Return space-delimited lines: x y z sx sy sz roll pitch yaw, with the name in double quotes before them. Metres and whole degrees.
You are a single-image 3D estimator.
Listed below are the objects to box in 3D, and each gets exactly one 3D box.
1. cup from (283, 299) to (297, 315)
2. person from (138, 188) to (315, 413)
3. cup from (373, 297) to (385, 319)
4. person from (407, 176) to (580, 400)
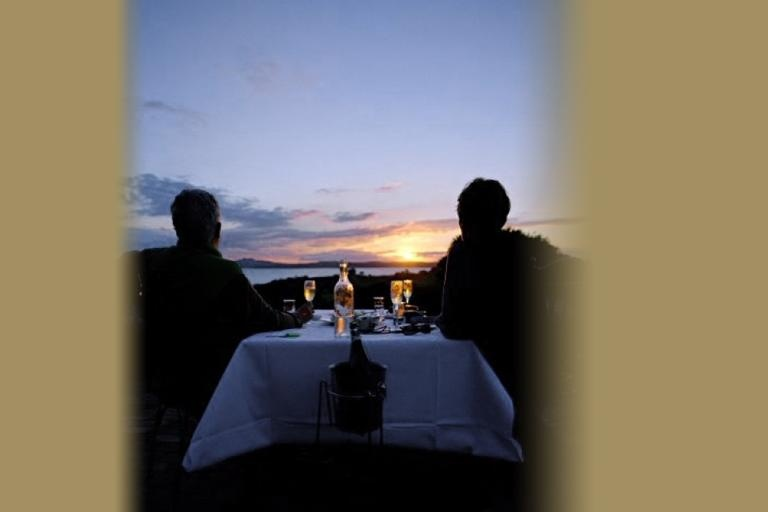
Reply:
"cup" -0.555 0.297 3.743 0.075 0.074 0.075 0 2 0
"person" -0.921 0.194 3.235 0.694 1.039 0.481 -10 15 -37
"cup" -0.028 0.314 4.052 0.087 0.153 0.088 0 2 0
"person" 0.579 0.124 3.148 0.585 0.981 0.450 3 13 17
